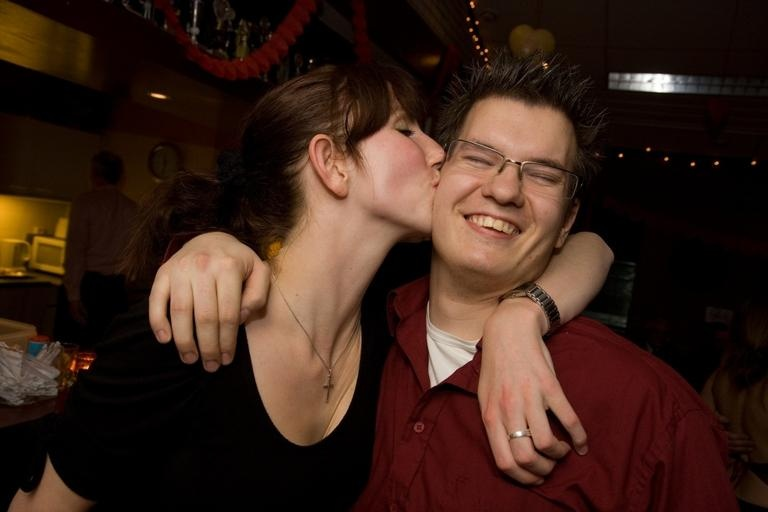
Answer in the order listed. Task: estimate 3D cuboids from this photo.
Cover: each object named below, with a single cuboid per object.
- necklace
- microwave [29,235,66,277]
[{"bbox_3d":[-0.316,0.335,2.452,0.548,0.584,0.078,1,4,-38],"label":"necklace"},{"bbox_3d":[-2.312,-0.009,3.968,0.213,0.241,0.225,12,-4,-29],"label":"microwave"}]
